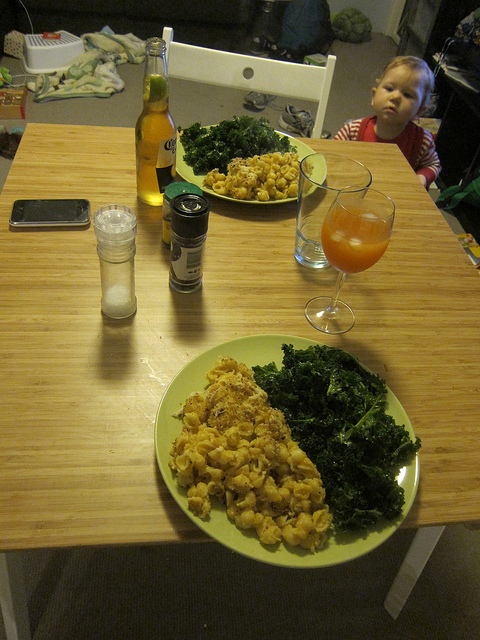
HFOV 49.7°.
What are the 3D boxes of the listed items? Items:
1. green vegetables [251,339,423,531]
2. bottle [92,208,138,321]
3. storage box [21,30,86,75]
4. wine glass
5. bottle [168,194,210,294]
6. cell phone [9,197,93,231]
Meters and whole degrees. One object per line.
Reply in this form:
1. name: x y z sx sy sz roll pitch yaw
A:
1. green vegetables: 0.119 0.135 0.639 0.160 0.077 0.202 11 48 -16
2. bottle: -0.187 -0.093 0.791 0.056 0.172 0.094 -2 45 -12
3. storage box: -1.232 -1.772 3.438 0.403 0.193 0.328 -8 46 -18
4. wine glass: 0.181 -0.090 0.867 0.112 0.245 0.112 14 50 4
5. bottle: -0.085 -0.136 0.865 0.059 0.163 0.120 5 44 -5
6. cell phone: -0.355 -0.198 0.979 0.123 0.016 0.068 0 49 -8
